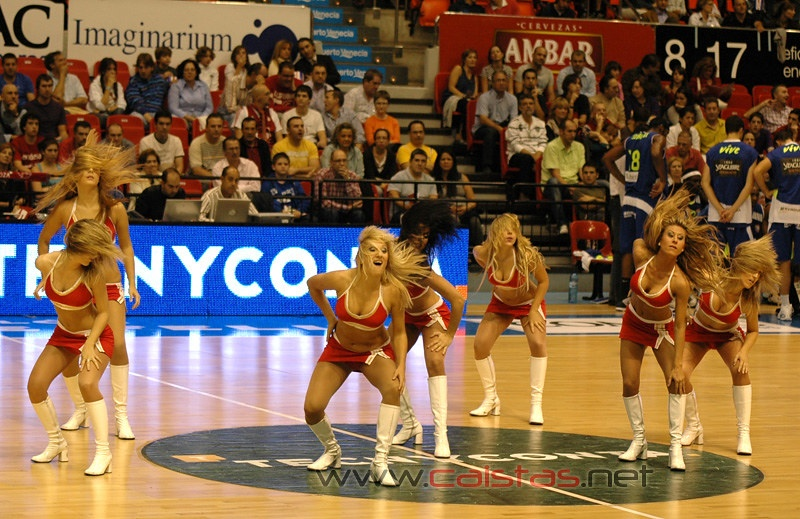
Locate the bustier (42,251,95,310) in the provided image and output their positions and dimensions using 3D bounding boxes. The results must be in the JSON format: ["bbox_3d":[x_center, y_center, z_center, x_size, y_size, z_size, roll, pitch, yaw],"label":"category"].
[{"bbox_3d":[-2.551,0.161,7.708,0.401,0.404,0.383,15,5,-1],"label":"bustier"}]

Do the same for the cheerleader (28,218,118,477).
[{"bbox_3d":[-2.498,0.643,7.552,0.807,1.887,0.503,5,8,26],"label":"cheerleader"}]

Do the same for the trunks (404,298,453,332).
[{"bbox_3d":[0.238,0.488,8.373,0.338,0.223,0.248,-15,5,13],"label":"trunks"}]

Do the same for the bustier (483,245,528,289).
[{"bbox_3d":[1.012,0.128,9.192,0.402,0.214,0.380,7,8,15],"label":"bustier"}]

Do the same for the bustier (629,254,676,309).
[{"bbox_3d":[2.050,0.208,7.915,0.384,0.368,0.263,37,-4,8],"label":"bustier"}]

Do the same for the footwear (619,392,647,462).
[{"bbox_3d":[1.913,1.359,7.952,0.216,0.530,0.351,3,7,14],"label":"footwear"}]

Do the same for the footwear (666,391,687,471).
[{"bbox_3d":[2.227,1.371,7.811,0.153,0.582,0.366,3,7,16],"label":"footwear"}]

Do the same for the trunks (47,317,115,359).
[{"bbox_3d":[-2.554,0.616,7.743,0.562,0.362,0.305,5,-6,-1],"label":"trunks"}]

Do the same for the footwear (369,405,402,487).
[{"bbox_3d":[-0.131,1.383,7.400,0.207,0.585,0.383,1,7,-1],"label":"footwear"}]

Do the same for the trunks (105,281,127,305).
[{"bbox_3d":[-2.386,0.272,8.150,0.134,0.178,0.245,-3,1,5],"label":"trunks"}]

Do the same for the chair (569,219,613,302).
[{"bbox_3d":[3.207,-0.004,16.105,0.911,1.312,0.982,0,3,38],"label":"chair"}]

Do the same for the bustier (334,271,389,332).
[{"bbox_3d":[-0.319,0.297,7.576,0.404,0.200,0.538,15,7,9],"label":"bustier"}]

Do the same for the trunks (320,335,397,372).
[{"bbox_3d":[-0.323,0.726,7.571,0.642,0.334,0.334,6,-10,13],"label":"trunks"}]

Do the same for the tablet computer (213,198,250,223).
[{"bbox_3d":[-2.448,-0.702,14.012,0.466,0.438,0.347,0,17,-17],"label":"tablet computer"}]

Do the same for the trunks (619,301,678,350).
[{"bbox_3d":[2.070,0.545,8.058,0.552,0.365,0.328,14,8,22],"label":"trunks"}]

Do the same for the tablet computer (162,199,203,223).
[{"bbox_3d":[-3.151,-0.691,13.939,0.534,0.325,0.129,-1,7,-19],"label":"tablet computer"}]
